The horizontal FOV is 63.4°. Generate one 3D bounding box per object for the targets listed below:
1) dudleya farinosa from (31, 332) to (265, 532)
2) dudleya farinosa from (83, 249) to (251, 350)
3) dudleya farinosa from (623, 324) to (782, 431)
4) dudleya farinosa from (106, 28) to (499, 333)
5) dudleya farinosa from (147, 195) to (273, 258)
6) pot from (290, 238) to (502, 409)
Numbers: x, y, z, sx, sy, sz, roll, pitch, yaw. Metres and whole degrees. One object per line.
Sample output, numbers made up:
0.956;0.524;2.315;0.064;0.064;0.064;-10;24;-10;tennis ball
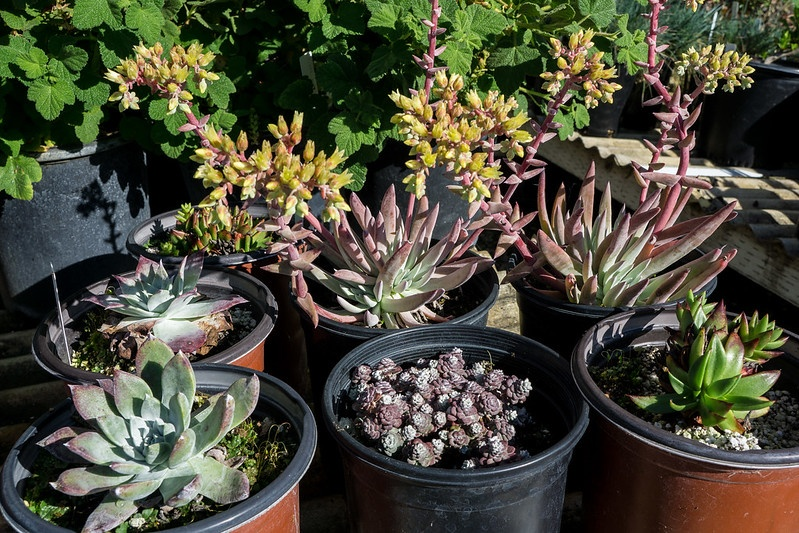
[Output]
-0.758;0.518;1.992;0.662;0.385;0.503;-8;35;-15;dudleya farinosa
-0.850;0.134;2.337;0.407;0.173;0.418;7;27;-11;dudleya farinosa
1.022;0.390;2.202;0.356;0.265;0.371;-5;35;-1;dudleya farinosa
-0.291;-0.234;2.288;1.263;0.989;0.614;7;34;8;dudleya farinosa
-0.858;-0.145;2.857;0.372;0.145;0.354;6;19;29;dudleya farinosa
-0.026;0.120;2.443;0.578;0.482;0.620;-1;18;0;pot
